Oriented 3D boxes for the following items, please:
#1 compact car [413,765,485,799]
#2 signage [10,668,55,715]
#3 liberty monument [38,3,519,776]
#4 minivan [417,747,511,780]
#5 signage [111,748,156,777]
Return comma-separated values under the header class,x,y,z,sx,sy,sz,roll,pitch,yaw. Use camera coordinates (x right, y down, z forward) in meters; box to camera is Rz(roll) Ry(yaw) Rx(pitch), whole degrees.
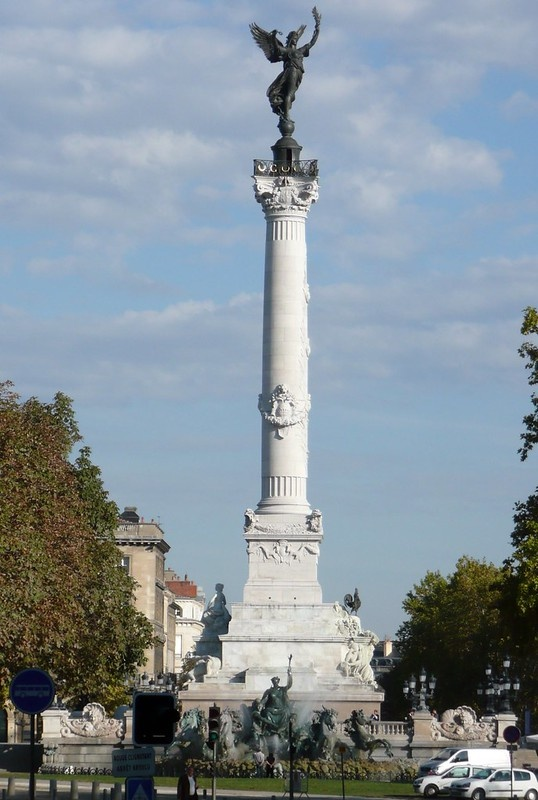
class,x,y,z,sx,sy,sz,roll,pitch,yaw
compact car,5.367,11.227,71.774,1.721,0.807,0.889,-1,-7,-15
signage,-4.682,5.668,47.604,0.829,0.819,0.516,1,-10,-7
liberty monument,0.542,-1.739,89.128,10.690,29.182,10.295,0,-10,1
minivan,6.059,10.852,73.985,2.176,0.912,1.191,2,-5,-9
signage,-2.574,6.839,46.122,0.637,0.501,0.097,0,-7,3
